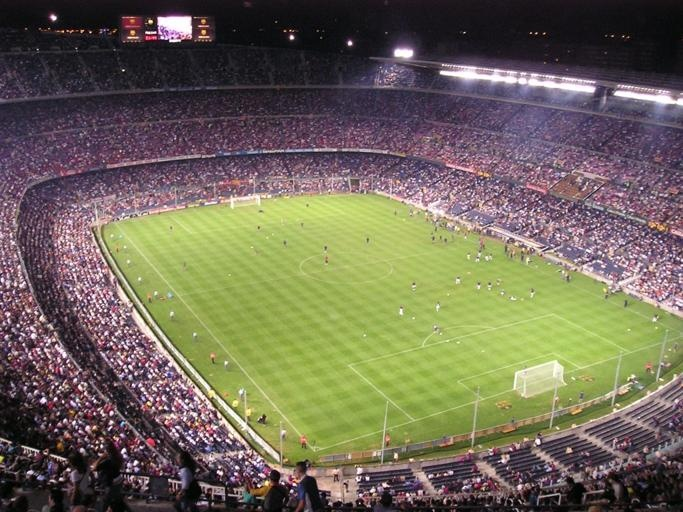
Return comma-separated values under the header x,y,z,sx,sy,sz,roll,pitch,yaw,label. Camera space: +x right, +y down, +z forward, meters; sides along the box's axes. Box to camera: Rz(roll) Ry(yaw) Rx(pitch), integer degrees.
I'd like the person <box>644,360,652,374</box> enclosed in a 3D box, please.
x,y,z,sx,sy,sz,roll,pitch,yaw,label
24.268,8.756,49.141,0.494,0.793,1.529,-7,-9,28,person

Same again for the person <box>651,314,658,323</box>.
x,y,z,sx,sy,sz,roll,pitch,yaw,label
28.955,5.677,57.458,0.601,0.741,1.279,-6,-9,24,person

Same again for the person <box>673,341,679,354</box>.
x,y,z,sx,sy,sz,roll,pitch,yaw,label
28.096,7.617,52.453,0.569,0.678,1.441,-6,-9,27,person

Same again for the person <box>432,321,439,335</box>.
x,y,z,sx,sy,sz,roll,pitch,yaw,label
8.108,6.129,53.417,0.643,0.911,1.542,-3,-8,7,person
